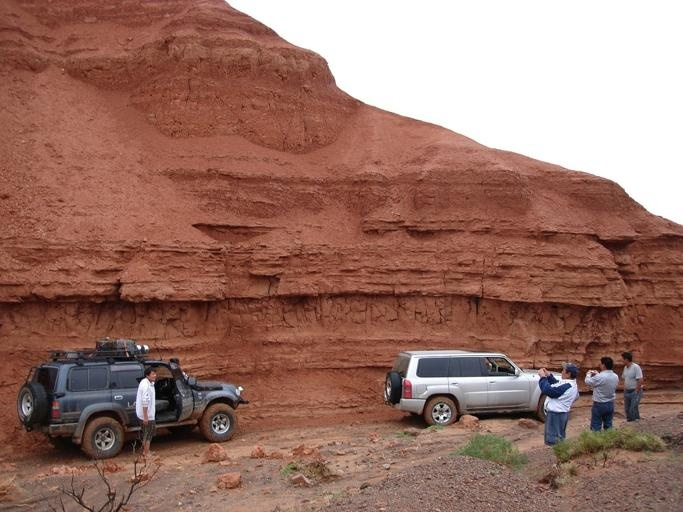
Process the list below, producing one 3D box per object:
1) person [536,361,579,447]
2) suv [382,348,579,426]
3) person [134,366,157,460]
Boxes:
[{"bbox_3d":[4.394,2.996,10.910,0.753,1.628,0.952,-5,-6,17],"label":"person"},{"bbox_3d":[3.753,3.615,15.367,4.885,1.593,2.034,-1,-2,-11],"label":"suv"},{"bbox_3d":[-4.534,3.593,12.593,0.463,1.921,0.375,1,-8,-40],"label":"person"}]
